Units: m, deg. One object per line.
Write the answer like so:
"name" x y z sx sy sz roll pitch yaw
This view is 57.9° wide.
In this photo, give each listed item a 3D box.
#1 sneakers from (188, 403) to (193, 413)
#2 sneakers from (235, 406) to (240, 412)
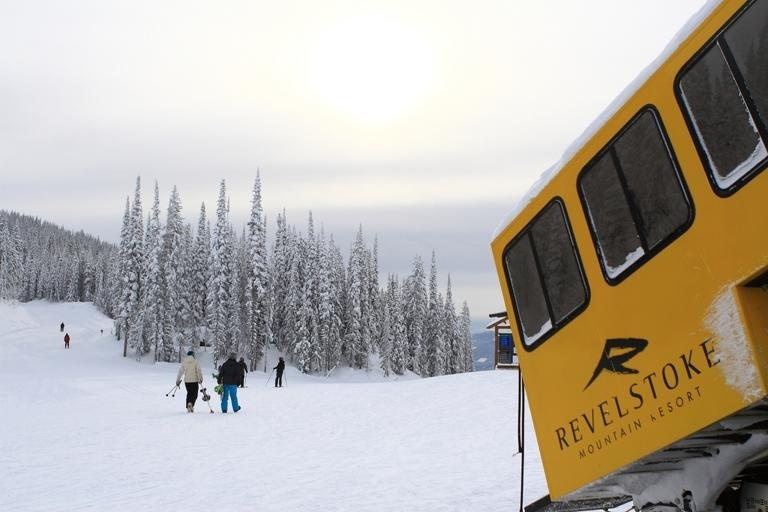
"sneakers" -6.543 5.137 23.396 0.152 0.420 0.184 -1 7 0
"sneakers" -5.091 5.280 24.001 0.213 0.104 0.206 -27 8 -28
